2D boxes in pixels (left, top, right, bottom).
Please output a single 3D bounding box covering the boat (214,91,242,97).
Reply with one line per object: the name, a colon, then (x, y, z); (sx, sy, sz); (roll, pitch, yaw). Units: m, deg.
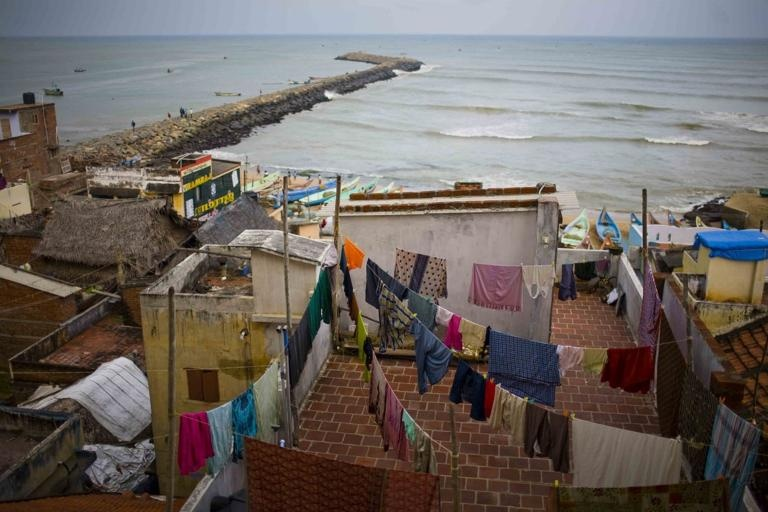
boat: (-28.009, -28.878, 100.953); (4.616, 0.950, 5.230); (-4, 13, -17)
